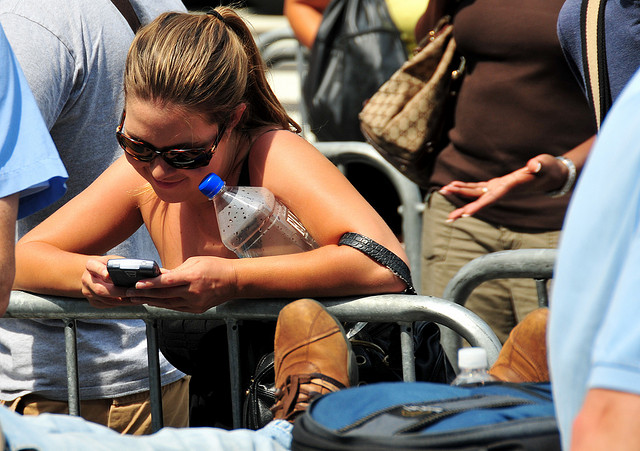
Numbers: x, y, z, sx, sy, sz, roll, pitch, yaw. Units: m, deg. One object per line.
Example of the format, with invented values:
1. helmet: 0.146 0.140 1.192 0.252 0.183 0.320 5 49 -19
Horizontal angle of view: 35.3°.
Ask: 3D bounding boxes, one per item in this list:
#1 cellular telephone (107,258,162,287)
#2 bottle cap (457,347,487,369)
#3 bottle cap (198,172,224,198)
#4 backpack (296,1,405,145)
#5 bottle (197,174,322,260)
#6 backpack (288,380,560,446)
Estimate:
1. cellular telephone: -0.581 0.153 3.250 0.168 0.096 0.049 4 39 9
2. bottle cap: 0.445 0.385 2.910 0.070 0.039 0.066 -1 5 -22
3. bottle cap: -0.350 -0.137 3.365 0.078 0.060 0.077 -18 29 53
4. backpack: 0.186 -0.825 5.304 0.462 0.787 0.742 -6 40 -19
5. bottle: -0.225 -0.011 3.521 0.237 0.484 0.209 -32 41 17
6. backpack: 0.296 0.505 2.669 0.502 0.105 0.267 -2 9 3
